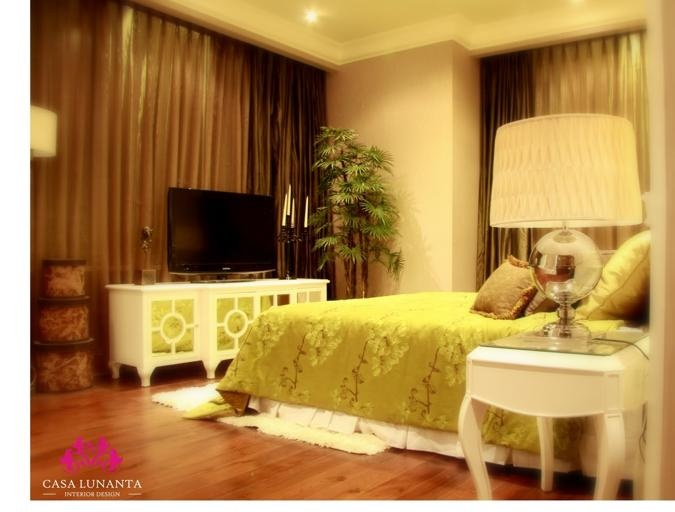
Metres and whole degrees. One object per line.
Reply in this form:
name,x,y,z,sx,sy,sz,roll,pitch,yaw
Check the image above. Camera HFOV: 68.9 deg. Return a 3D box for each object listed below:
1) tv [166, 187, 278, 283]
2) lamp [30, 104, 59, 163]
tv,-1.054,-0.193,4.569,1.099,0.836,0.268,0,0,-38
lamp,-2.131,-0.899,3.567,0.160,0.334,0.244,-2,2,-33
